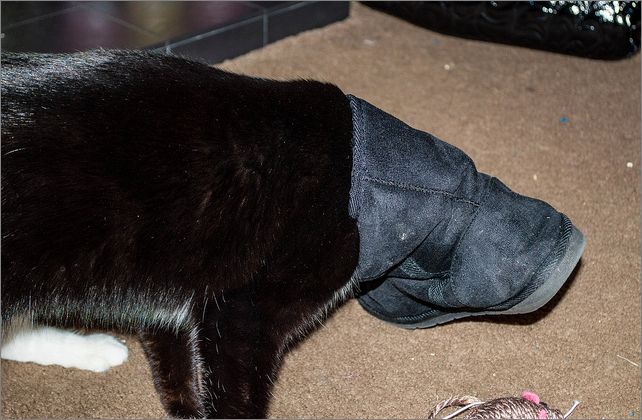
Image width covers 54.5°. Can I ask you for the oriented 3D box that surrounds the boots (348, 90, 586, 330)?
[{"bbox_3d":[0.371,0.021,1.673,0.650,0.517,0.297,4,40,-1],"label":"boots"}]
